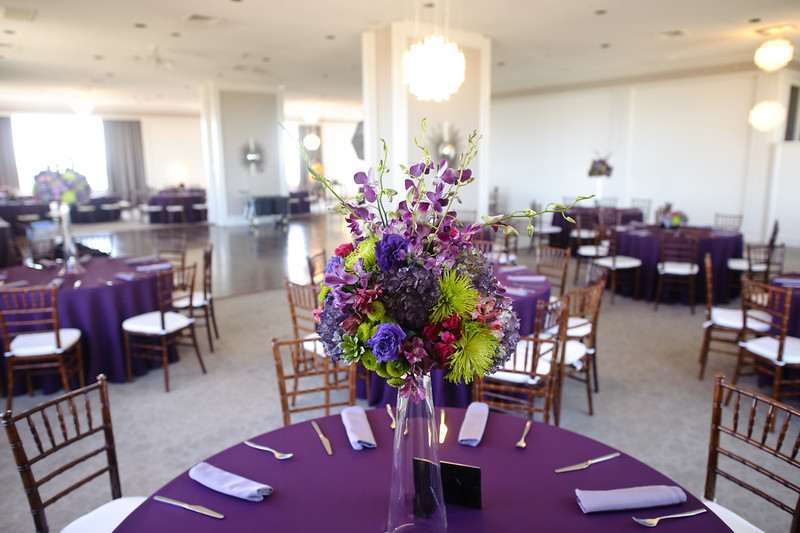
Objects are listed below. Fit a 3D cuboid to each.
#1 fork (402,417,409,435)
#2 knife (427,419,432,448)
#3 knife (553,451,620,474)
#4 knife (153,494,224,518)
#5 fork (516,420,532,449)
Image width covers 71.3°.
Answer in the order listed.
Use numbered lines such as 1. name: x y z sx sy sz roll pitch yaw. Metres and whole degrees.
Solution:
1. fork: 0.031 0.807 2.847 0.018 0.094 0.020 7 -1 1
2. knife: 0.151 0.849 2.851 0.030 0.125 0.024 -2 11 -7
3. knife: 1.057 1.101 3.125 0.282 0.015 0.053 -10 43 -10
4. knife: -1.127 1.282 2.973 0.325 0.016 0.055 6 36 12
5. fork: 0.738 0.985 3.292 0.050 0.028 0.240 7 19 21
